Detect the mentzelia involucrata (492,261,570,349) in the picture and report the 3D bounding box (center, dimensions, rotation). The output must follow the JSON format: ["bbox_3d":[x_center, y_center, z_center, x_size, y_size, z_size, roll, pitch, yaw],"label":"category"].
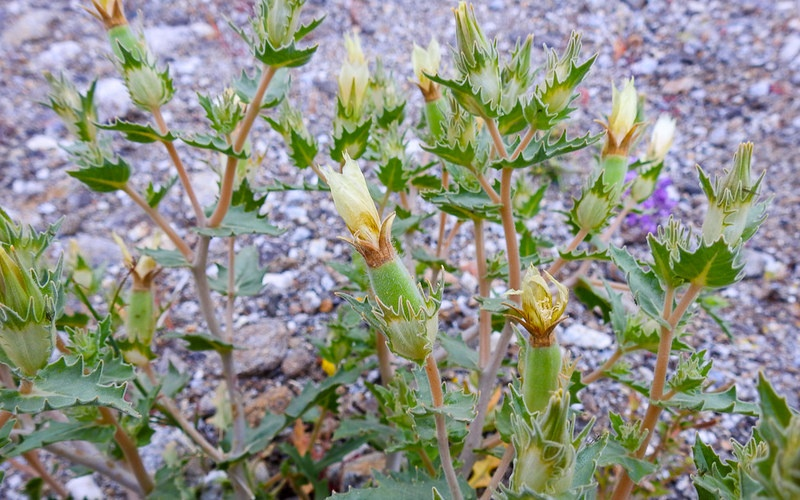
[{"bbox_3d":[0.542,0.262,3.021,0.293,0.274,0.334,-19,104,-49],"label":"mentzelia involucrata"}]

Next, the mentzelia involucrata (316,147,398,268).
[{"bbox_3d":[-0.136,-0.155,2.911,0.214,0.295,0.438,-17,69,-16],"label":"mentzelia involucrata"}]
